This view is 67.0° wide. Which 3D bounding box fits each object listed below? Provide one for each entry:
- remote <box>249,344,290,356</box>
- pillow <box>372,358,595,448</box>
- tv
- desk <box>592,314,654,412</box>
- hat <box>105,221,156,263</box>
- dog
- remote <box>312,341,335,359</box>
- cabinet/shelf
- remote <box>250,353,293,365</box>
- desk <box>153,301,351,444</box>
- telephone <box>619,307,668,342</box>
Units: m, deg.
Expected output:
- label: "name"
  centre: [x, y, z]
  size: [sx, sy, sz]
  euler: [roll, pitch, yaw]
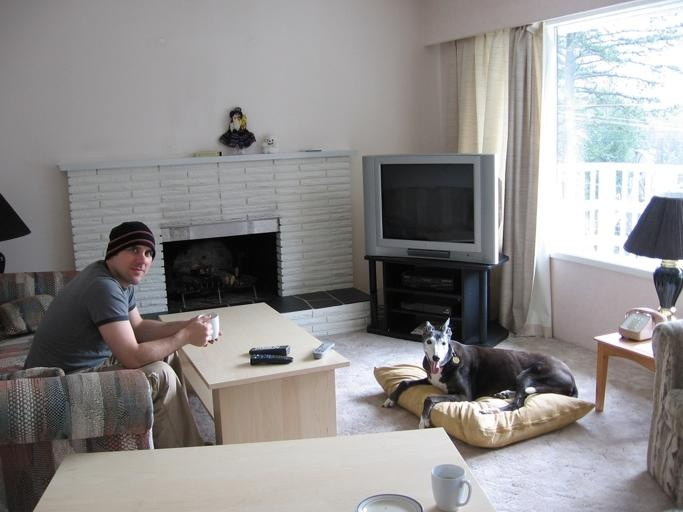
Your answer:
- label: "remote"
  centre: [-0.354, 0.467, 2.570]
  size: [0.127, 0.033, 0.082]
  euler: [-2, 5, -2]
- label: "pillow"
  centre: [0.753, 0.874, 2.958]
  size: [1.194, 0.230, 0.611]
  euler: [0, 6, 30]
- label: "tv"
  centre: [0.849, -0.277, 4.597]
  size: [1.514, 1.118, 0.839]
  euler: [4, 11, 27]
- label: "desk"
  centre: [1.650, 0.623, 3.047]
  size: [0.433, 0.397, 0.432]
  euler: [-8, 12, -44]
- label: "hat"
  centre: [-1.023, -0.068, 2.476]
  size: [0.210, 0.164, 0.179]
  euler: [-2, -3, 11]
- label: "dog"
  centre: [0.824, 0.666, 3.062]
  size: [0.930, 0.499, 0.533]
  euler: [1, -4, -12]
- label: "remote"
  centre: [-0.094, 0.472, 2.628]
  size: [0.047, 0.030, 0.128]
  euler: [1, 8, 18]
- label: "cabinet/shelf"
  centre: [0.844, 0.150, 4.439]
  size: [1.297, 0.820, 0.681]
  euler: [3, 7, 24]
- label: "remote"
  centre: [-0.348, 0.503, 2.509]
  size: [0.142, 0.034, 0.077]
  euler: [-1, 4, -5]
- label: "desk"
  centre: [-0.385, 0.351, 2.583]
  size: [0.561, 0.289, 1.235]
  euler: [-2, 10, -18]
- label: "telephone"
  centre: [1.732, 0.382, 2.997]
  size: [0.215, 0.139, 0.265]
  euler: [-14, 12, -9]
